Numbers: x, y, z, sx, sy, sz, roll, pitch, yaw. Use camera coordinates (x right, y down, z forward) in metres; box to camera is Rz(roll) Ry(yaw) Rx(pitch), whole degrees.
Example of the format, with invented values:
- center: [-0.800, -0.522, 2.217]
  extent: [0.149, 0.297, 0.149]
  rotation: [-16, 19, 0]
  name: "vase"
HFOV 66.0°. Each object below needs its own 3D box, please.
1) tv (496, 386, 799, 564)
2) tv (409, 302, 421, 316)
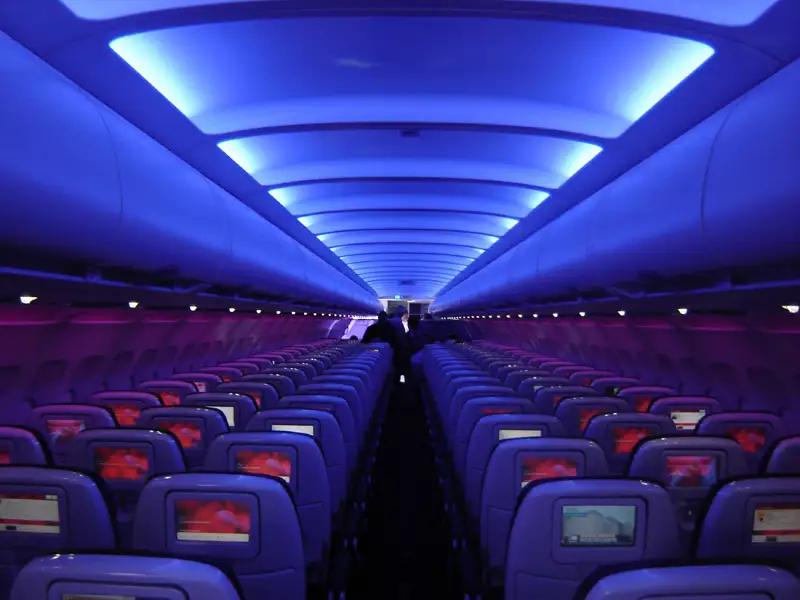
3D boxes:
- center: [1.770, 1.442, 4.523]
  extent: [1.475, 1.527, 1.531]
  rotation: [0, 3, 1]
  name: "tv"
- center: [0.897, 0.545, 37.840]
  extent: [0.878, 0.877, 1.069]
  rotation: [-1, 4, 6]
  name: "tv"
